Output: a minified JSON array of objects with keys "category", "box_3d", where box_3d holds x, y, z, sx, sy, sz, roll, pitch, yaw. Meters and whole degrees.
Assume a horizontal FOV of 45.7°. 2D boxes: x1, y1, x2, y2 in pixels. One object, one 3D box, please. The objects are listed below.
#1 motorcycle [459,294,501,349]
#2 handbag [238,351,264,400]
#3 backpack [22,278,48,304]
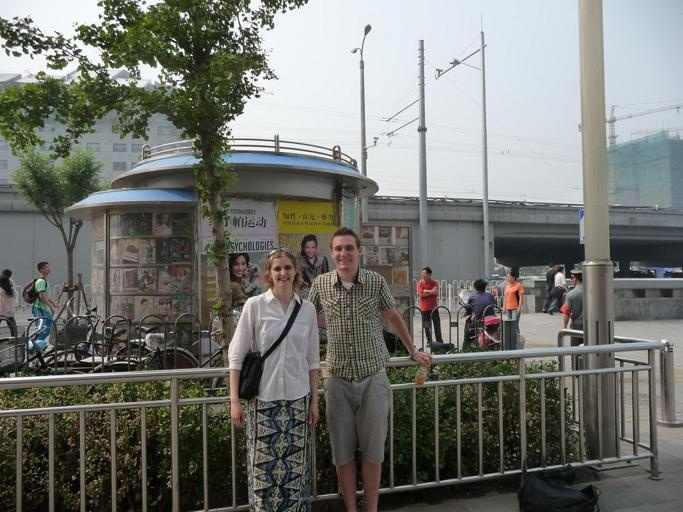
[{"category":"motorcycle","box_3d":[2.504,1.044,14.751,0.591,0.802,1.380,2,4,7]},{"category":"handbag","box_3d":[-0.919,1.195,8.038,0.179,0.428,0.362,16,-15,-20]},{"category":"backpack","box_3d":[-5.940,0.658,15.361,0.550,0.597,0.425,3,-7,-22]}]
